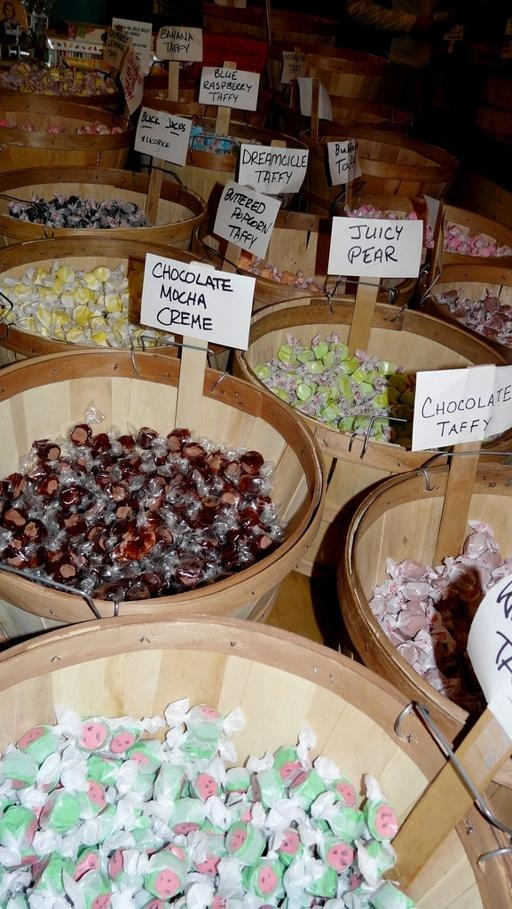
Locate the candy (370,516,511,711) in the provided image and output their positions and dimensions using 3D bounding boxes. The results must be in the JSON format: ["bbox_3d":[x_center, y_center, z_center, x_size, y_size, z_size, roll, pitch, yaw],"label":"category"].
[{"bbox_3d":[0.458,0.351,1.521,0.299,0.137,0.590,21,33,19],"label":"candy"}]
